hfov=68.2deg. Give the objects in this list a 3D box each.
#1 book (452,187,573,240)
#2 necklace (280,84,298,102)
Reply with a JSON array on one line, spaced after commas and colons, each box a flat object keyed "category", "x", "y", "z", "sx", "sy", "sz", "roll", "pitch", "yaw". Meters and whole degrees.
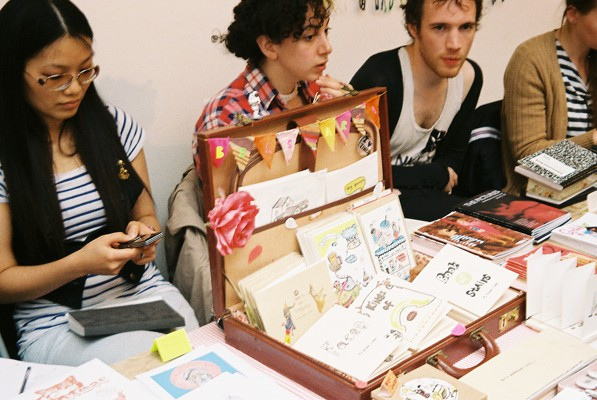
[{"category": "book", "x": 1.001, "y": 0.057, "z": 2.070, "sx": 0.307, "sy": 0.042, "sz": 0.284, "roll": -23, "pitch": 32, "yaw": -36}, {"category": "necklace", "x": -0.047, "y": -0.547, "z": 2.315, "sx": 0.099, "sy": 0.035, "sz": 0.087, "roll": -38, "pitch": 22, "yaw": -11}]
